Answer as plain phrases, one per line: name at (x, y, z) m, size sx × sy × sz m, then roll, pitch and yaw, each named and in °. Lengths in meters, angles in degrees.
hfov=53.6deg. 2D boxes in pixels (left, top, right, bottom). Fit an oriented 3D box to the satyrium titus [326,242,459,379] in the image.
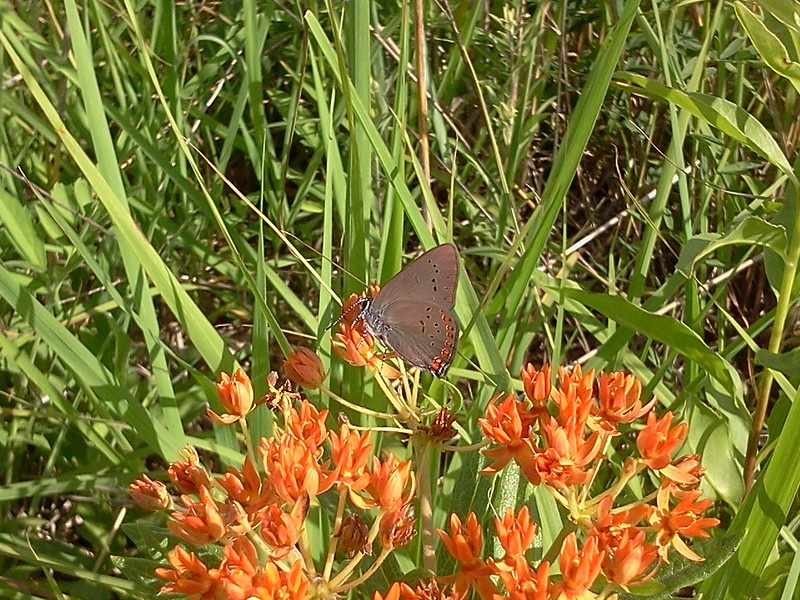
satyrium titus at (-0.003, 0.041, 2.518) m, size 0.341 × 0.443 × 0.339 m, roll 24°, pitch 70°, yaw -13°
